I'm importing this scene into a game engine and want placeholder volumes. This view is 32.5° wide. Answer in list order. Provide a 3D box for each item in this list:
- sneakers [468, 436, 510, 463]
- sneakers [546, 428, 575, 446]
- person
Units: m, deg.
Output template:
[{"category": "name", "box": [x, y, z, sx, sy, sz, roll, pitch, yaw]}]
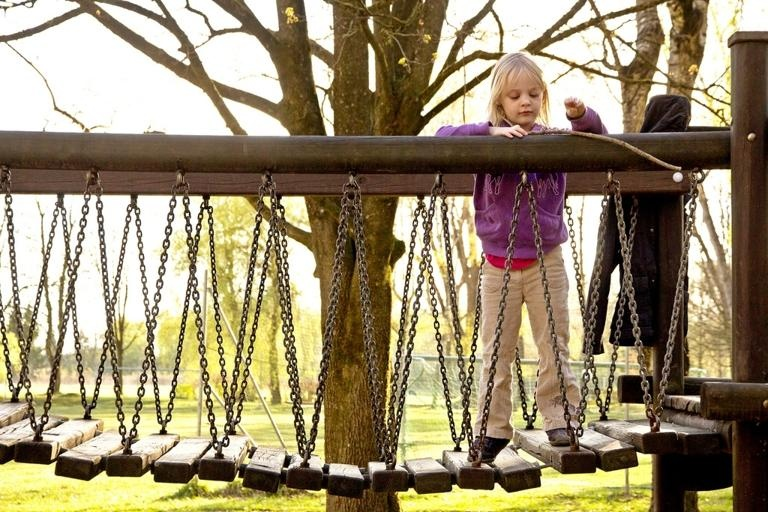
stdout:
[{"category": "sneakers", "box": [0.982, 1.888, 12.816, 0.291, 0.269, 0.675, -4, -9, 23]}, {"category": "sneakers", "box": [1.647, 1.759, 12.752, 0.229, 0.175, 0.170, -3, -9, 16]}, {"category": "person", "box": [1.353, -0.004, 12.946, 1.221, 4.012, 0.726, -2, -9, 6]}]
